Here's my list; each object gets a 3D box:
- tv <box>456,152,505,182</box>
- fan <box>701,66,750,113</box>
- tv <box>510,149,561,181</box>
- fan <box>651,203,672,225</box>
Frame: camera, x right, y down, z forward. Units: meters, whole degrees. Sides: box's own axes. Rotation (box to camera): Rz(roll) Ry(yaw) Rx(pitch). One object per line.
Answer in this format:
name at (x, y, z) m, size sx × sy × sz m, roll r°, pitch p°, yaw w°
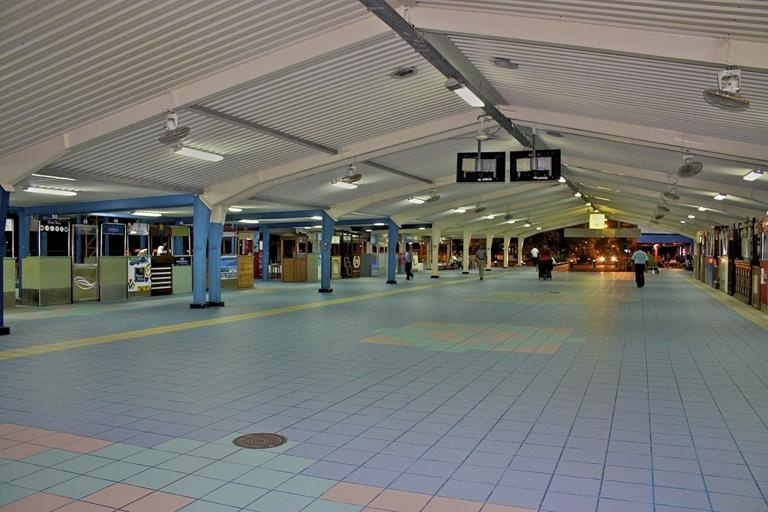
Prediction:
tv at (2.960, -2.731, 15.489) m, size 1.583 × 0.660 × 0.046 m, roll 1°, pitch 1°, yaw 19°
fan at (5.234, -2.624, 7.868) m, size 0.555 × 0.715 × 0.503 m, roll -1°, pitch 0°, yaw 22°
tv at (4.391, -2.690, 15.036) m, size 2.081 × 0.895 × 0.167 m, roll -10°, pitch 18°, yaw -29°
fan at (17.117, -2.697, 31.505) m, size 0.929 × 0.717 × 2.733 m, roll 0°, pitch -6°, yaw 30°
